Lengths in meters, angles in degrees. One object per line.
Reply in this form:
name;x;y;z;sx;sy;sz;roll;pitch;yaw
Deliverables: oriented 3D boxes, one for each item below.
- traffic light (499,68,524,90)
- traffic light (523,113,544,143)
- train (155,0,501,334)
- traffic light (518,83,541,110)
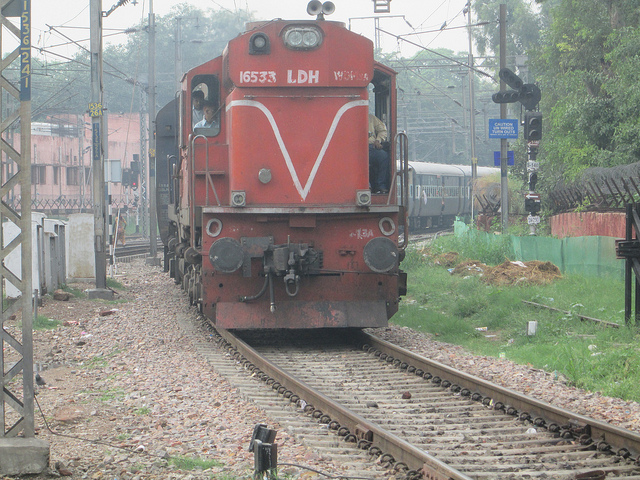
traffic light;4.804;-4.029;22.967;0.493;0.533;0.851;-1;9;-3
traffic light;5.323;-2.782;22.819;0.454;0.728;0.257;4;10;31
train;-0.839;-1.398;17.633;4.214;5.934;5.679;-2;9;-8
traffic light;5.229;-3.620;22.841;0.459;0.549;0.560;3;-17;-1
